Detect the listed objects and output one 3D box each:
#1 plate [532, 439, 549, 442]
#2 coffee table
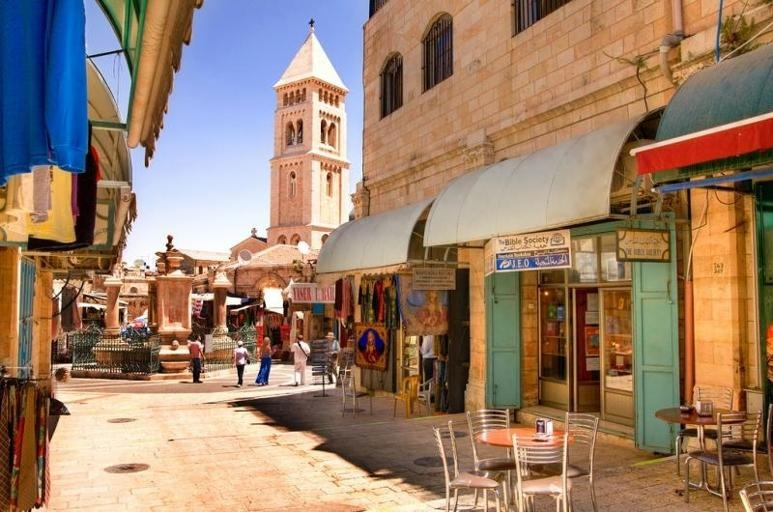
[{"bbox_3d":[2.265,2.704,10.376,0.229,0.034,0.123,-3,-9,11],"label":"plate"},{"bbox_3d":[5.009,3.051,11.382,1.392,1.128,1.385,-2,3,7],"label":"coffee table"}]
